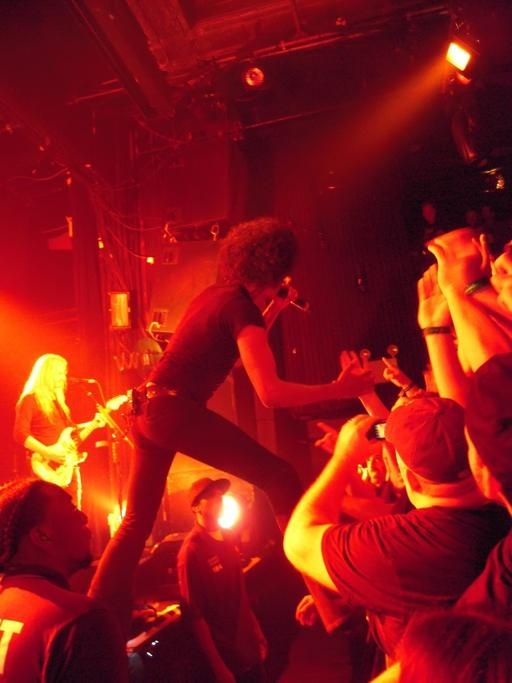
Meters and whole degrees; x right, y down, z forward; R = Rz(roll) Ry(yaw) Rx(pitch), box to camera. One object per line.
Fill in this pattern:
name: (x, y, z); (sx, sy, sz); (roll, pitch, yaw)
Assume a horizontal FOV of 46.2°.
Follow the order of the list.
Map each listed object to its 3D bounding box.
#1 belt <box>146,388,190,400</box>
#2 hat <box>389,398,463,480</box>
belt: (-0.346, 0.190, 2.243); (0.108, 0.028, 0.059); (5, -10, 9)
hat: (0.462, 0.265, 1.618); (0.164, 0.214, 0.104); (-10, -43, 4)
